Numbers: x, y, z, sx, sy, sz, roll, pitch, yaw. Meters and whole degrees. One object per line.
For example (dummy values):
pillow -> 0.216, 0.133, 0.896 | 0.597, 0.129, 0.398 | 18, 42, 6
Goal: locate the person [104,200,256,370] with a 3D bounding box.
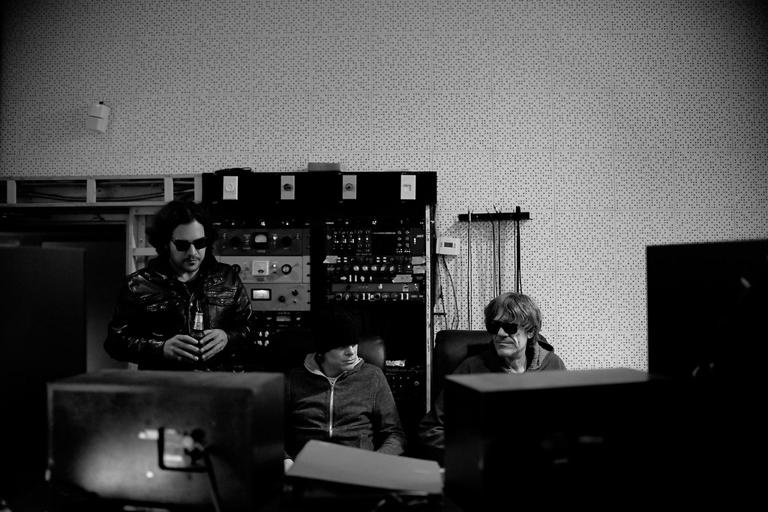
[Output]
person -> -1.267, 0.181, 4.788 | 0.890, 1.055, 0.416 | 0, 2, -11

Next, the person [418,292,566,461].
person -> 0.754, 0.858, 5.181 | 0.824, 1.274, 1.042 | -2, -23, 10

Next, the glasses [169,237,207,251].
glasses -> -1.188, -0.077, 4.780 | 0.216, 0.086, 0.063 | -1, 2, -19

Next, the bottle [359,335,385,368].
bottle -> -0.094, 0.647, 5.252 | 0.149, 0.220, 0.185 | 0, -12, -3

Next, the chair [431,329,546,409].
chair -> 0.645, 0.728, 5.226 | 0.374, 0.392, 0.518 | -22, -42, 9

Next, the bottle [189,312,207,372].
bottle -> -1.108, 0.471, 4.694 | 0.061, 0.227, 0.063 | 2, -5, 0
